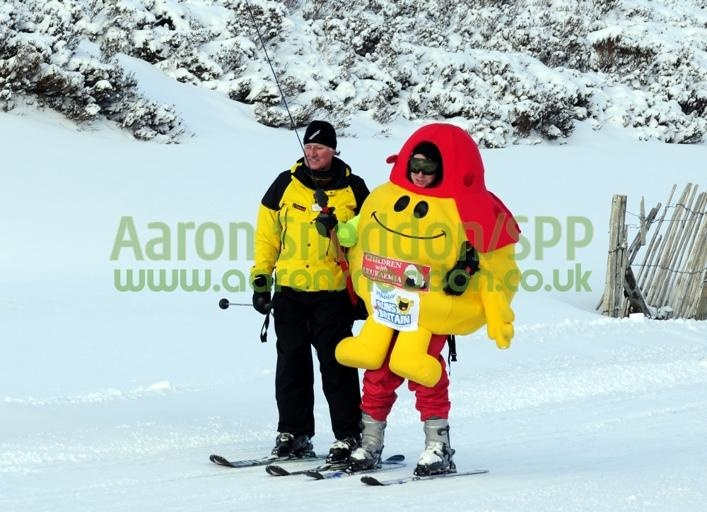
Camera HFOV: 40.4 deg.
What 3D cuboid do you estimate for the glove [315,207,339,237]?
[{"bbox_3d":[-0.267,-0.357,10.054,0.211,0.295,0.138,5,15,23],"label":"glove"}]

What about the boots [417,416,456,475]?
[{"bbox_3d":[0.828,1.938,9.914,0.278,0.568,0.804,-11,-12,23],"label":"boots"}]

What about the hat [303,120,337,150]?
[{"bbox_3d":[-0.331,-1.298,10.276,0.311,0.248,0.295,23,6,-23],"label":"hat"}]

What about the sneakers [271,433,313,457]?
[{"bbox_3d":[-0.729,1.994,10.284,0.576,0.272,0.190,12,-14,-28],"label":"sneakers"}]
